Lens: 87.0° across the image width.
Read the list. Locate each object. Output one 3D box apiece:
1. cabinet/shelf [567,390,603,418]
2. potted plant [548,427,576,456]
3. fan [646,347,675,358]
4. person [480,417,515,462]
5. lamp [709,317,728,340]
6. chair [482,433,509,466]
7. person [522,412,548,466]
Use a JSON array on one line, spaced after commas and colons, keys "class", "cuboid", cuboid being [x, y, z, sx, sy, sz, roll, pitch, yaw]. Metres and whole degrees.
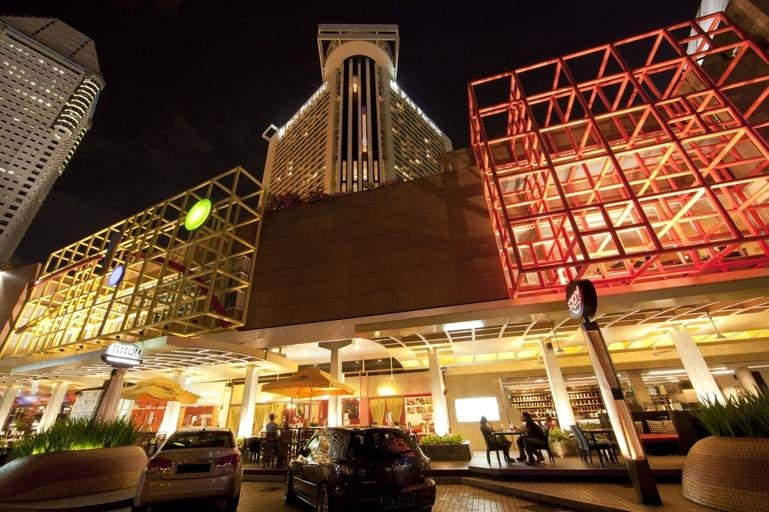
[{"class": "cabinet/shelf", "cuboid": [12.801, 9.106, 25.714, 1.801, 1.686, 0.631, -15, -30, 20]}, {"class": "potted plant", "cuboid": [8.272, 8.425, 18.813, 1.056, 0.945, 0.590, -3, -70, 15]}, {"class": "fan", "cuboid": [17.027, 5.744, 24.909, 1.398, 0.440, 0.819, -10, -27, 12]}, {"class": "person", "cuboid": [4.905, 7.907, 17.545, 1.193, 1.538, 1.220, 7, -26, -33]}, {"class": "lamp", "cuboid": [17.226, 3.760, 21.003, 0.292, 1.033, 4.099, -25, -33, 33]}, {"class": "chair", "cuboid": [4.935, 8.305, 17.796, 0.959, 1.155, 2.224, -10, -27, 10]}, {"class": "person", "cuboid": [6.306, 7.486, 17.090, 0.937, 1.923, 1.362, -9, -28, 9]}]
